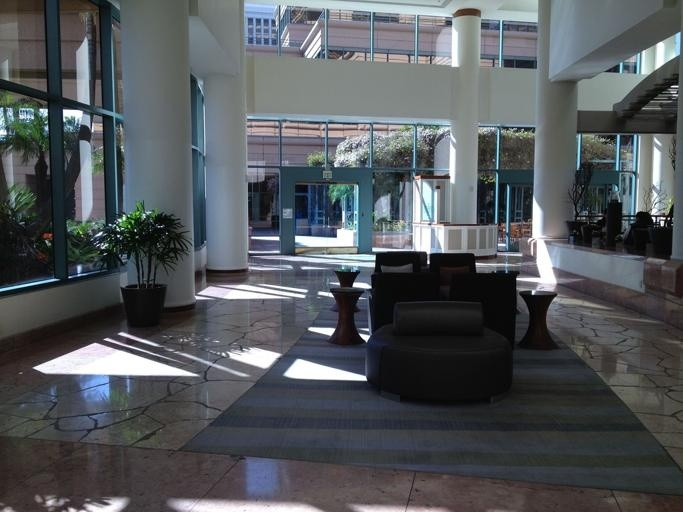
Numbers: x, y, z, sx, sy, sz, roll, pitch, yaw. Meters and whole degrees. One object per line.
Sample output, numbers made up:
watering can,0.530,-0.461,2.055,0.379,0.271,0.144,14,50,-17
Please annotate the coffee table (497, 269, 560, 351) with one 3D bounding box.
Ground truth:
coffee table,2.286,0.658,6.652,0.857,1.053,0.933,0,0,-12

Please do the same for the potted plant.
potted plant,-2.839,0.091,7.426,1.140,1.734,0.891,-1,7,-12
